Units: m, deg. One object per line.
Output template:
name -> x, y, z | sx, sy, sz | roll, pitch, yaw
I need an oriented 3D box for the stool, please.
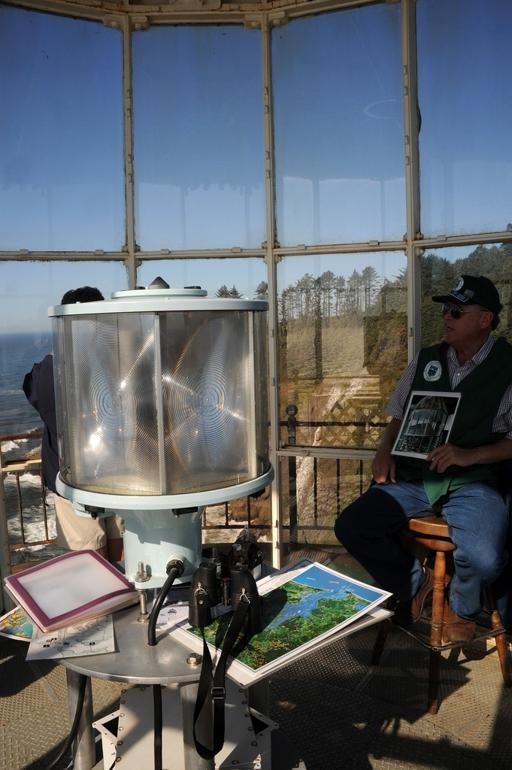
stool -> 0.806, 0.897, 2.792 | 0.600, 0.693, 0.802 | 0, 3, 10

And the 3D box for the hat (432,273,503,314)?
hat -> 0.911, -0.383, 2.785 | 0.260, 0.143, 0.159 | 15, 5, 2

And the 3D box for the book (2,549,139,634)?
book -> -0.472, 0.518, 1.609 | 0.332, 0.069, 0.305 | 2, 4, 45

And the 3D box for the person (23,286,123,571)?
person -> -0.896, 0.328, 3.324 | 0.485, 1.569, 0.426 | -11, 16, -38
